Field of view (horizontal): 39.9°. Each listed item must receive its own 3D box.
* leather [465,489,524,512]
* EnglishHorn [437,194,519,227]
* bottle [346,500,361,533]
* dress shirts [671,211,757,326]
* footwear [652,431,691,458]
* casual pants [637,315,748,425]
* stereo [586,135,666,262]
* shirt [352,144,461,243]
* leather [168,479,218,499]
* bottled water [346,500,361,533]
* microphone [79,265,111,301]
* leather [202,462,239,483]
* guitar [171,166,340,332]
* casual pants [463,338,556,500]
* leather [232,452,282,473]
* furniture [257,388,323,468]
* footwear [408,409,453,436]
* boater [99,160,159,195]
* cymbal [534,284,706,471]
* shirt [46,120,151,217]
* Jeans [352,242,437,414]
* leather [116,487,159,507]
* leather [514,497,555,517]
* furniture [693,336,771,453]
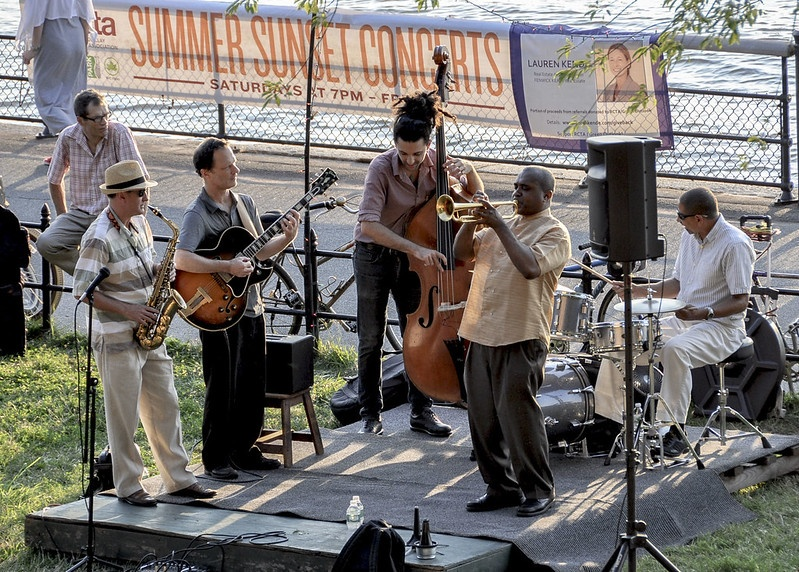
[{"bbox_3d":[0.669,1.503,7.788,0.438,0.160,0.151,-1,-4,-8],"label":"leather"},{"bbox_3d":[0.559,-0.528,7.705,0.679,0.262,0.211,-3,10,-35],"label":"EnglishHorn"},{"bbox_3d":[-0.315,1.550,7.599,0.127,0.212,0.353,-2,4,-3],"label":"bottle"},{"bbox_3d":[2.577,-0.112,9.041,0.595,0.916,0.968,2,7,-26],"label":"dress shirts"},{"bbox_3d":[2.105,1.240,8.579,0.142,0.167,0.394,4,-5,37],"label":"footwear"},{"bbox_3d":[2.311,0.646,8.728,0.936,0.967,0.795,0,2,-1],"label":"casual pants"},{"bbox_3d":[1.486,-0.575,7.322,0.459,0.821,0.231,-1,5,8],"label":"stereo"},{"bbox_3d":[-0.025,-0.754,8.731,0.550,0.936,0.248,17,3,-24],"label":"shirt"},{"bbox_3d":[-1.508,1.479,8.034,0.352,0.102,0.126,0,2,5],"label":"leather"},{"bbox_3d":[-0.315,1.550,7.599,0.127,0.212,0.353,-2,4,-3],"label":"bottled water"},{"bbox_3d":[-2.092,-0.026,7.526,0.078,0.254,0.084,35,-14,39],"label":"microphone"},{"bbox_3d":[-1.341,1.402,8.343,0.270,0.113,0.114,13,1,13],"label":"leather"},{"bbox_3d":[-1.058,-0.258,7.970,0.553,1.395,0.158,45,-3,-9],"label":"guitar"},{"bbox_3d":[0.756,0.894,7.763,0.603,1.086,0.348,-7,-10,39],"label":"casual pants"},{"bbox_3d":[-1.099,1.359,8.471,0.394,0.152,0.129,0,3,-5],"label":"leather"},{"bbox_3d":[-0.844,1.123,8.783,0.597,0.562,0.576,-2,0,-4],"label":"furniture"},{"bbox_3d":[0.258,1.142,9.219,0.353,0.144,0.170,3,5,27],"label":"footwear"},{"bbox_3d":[-1.936,-0.766,7.800,0.355,0.239,0.313,-3,4,-9],"label":"boater"},{"bbox_3d":[1.856,0.706,8.513,1.389,1.179,1.003,1,1,-28],"label":"cymbal"},{"bbox_3d":[-2.715,-1.047,10.021,0.973,0.782,0.343,1,13,1],"label":"shirt"},{"bbox_3d":[-0.113,0.319,9.048,0.608,1.371,0.412,-10,6,-26],"label":"Jeans"},{"bbox_3d":[-1.890,1.517,7.941,0.260,0.104,0.107,2,-1,13],"label":"leather"},{"bbox_3d":[0.909,1.531,7.622,0.239,0.099,0.105,2,-3,-42],"label":"leather"},{"bbox_3d":[2.624,0.896,8.982,0.808,0.829,0.782,-4,-1,34],"label":"furniture"}]
